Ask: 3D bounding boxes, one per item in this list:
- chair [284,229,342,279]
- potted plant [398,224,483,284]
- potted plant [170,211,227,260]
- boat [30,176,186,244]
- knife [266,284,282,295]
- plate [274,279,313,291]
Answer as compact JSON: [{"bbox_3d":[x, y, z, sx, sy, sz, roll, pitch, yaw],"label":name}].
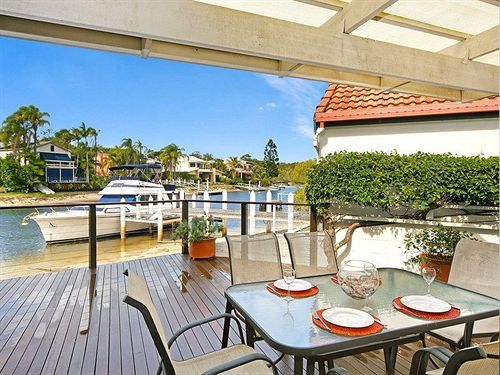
[{"bbox_3d":[0.658,0.719,3.774,0.418,0.766,0.560,-2,0,-18],"label":"chair"},{"bbox_3d":[3.039,1.068,4.818,0.711,0.748,0.526,21,-7,-8],"label":"potted plant"},{"bbox_3d":[-0.746,0.954,6.519,0.923,0.957,0.728,-10,-8,31],"label":"potted plant"},{"bbox_3d":[-6.566,1.137,15.913,3.995,2.686,6.799,2,5,8],"label":"boat"},{"bbox_3d":[0.203,0.854,2.745,0.053,0.019,0.164,0,-1,-11],"label":"knife"},{"bbox_3d":[0.369,0.830,2.776,0.187,0.020,0.191,0,5,10],"label":"plate"}]
